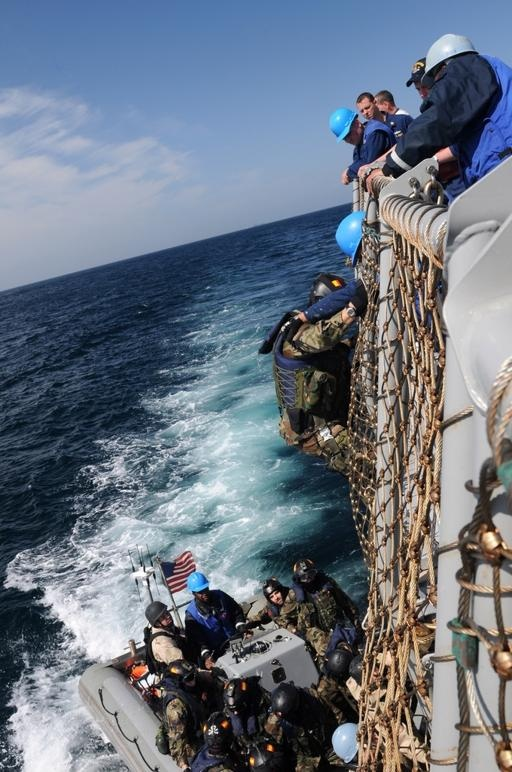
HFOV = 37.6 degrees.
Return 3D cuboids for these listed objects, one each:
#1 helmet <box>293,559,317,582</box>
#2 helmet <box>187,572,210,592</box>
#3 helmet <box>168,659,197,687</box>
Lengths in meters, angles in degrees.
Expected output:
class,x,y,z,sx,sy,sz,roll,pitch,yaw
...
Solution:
class,x,y,z,sx,sy,sz,roll,pitch,yaw
helmet,0.596,2.240,9.333,0.238,0.238,0.304,2,9,2
helmet,-0.790,2.608,10.187,0.301,0.198,0.369,-7,-1,-19
helmet,-0.823,3.060,8.202,0.313,0.248,0.234,2,28,-20
